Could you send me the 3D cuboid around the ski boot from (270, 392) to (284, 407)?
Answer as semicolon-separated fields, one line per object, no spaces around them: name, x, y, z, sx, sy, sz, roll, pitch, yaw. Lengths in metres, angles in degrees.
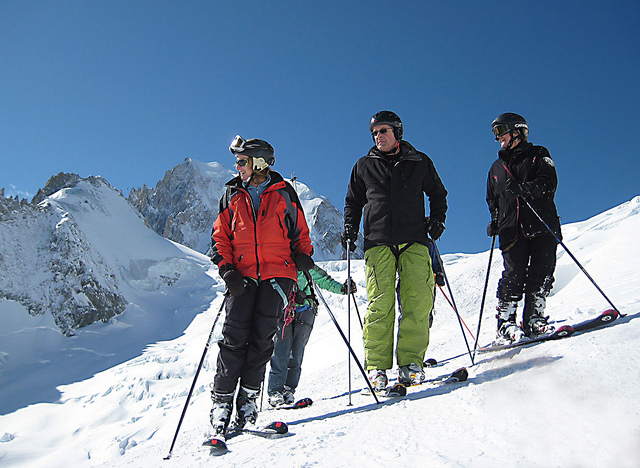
ski boot;-0.735;2.765;8.645;0.227;0.222;0.352;-11;1;-10

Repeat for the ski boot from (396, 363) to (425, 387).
ski boot;1.264;1.942;7.109;0.349;0.308;0.199;-11;0;5

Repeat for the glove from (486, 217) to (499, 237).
glove;2.753;-0.104;8.077;0.096;0.303;0.203;-5;6;6

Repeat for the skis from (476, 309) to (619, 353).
skis;3.496;1.461;7.752;2.274;0.255;0.192;-25;-50;36

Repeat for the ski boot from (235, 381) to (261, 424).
ski boot;-0.938;2.254;6.644;0.260;0.522;0.362;-4;-39;-9

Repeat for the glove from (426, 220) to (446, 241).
glove;1.737;-0.070;7.704;0.264;0.306;0.263;-11;1;12
